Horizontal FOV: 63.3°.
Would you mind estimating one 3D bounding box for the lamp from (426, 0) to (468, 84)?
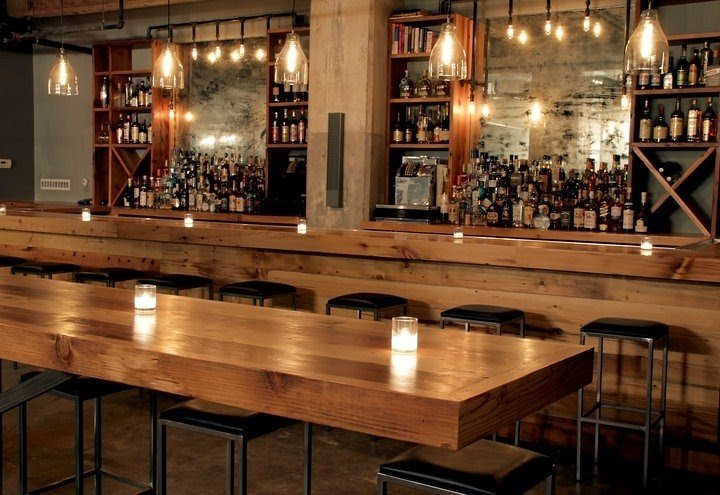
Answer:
[{"bbox_3d":[0.569,-1.268,3.717,0.231,0.379,0.246,2,12,8],"label":"lamp"}]

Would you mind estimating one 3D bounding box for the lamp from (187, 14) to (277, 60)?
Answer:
[{"bbox_3d":[-1.733,-2.663,7.574,1.536,0.499,0.450,7,14,32],"label":"lamp"}]

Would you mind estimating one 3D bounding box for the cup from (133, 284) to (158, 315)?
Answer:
[{"bbox_3d":[-1.002,0.245,2.806,0.154,0.140,0.135,0,4,-14],"label":"cup"}]

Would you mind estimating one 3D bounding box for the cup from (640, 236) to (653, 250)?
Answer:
[{"bbox_3d":[2.050,-0.034,4.154,0.105,0.095,0.101,-1,8,0],"label":"cup"}]

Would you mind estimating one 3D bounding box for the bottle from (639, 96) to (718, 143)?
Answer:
[{"bbox_3d":[2.837,-1.121,5.121,0.528,0.275,0.101,4,7,28],"label":"bottle"}]

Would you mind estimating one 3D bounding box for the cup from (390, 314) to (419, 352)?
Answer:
[{"bbox_3d":[0.171,0.325,2.256,0.143,0.129,0.127,0,3,-4],"label":"cup"}]

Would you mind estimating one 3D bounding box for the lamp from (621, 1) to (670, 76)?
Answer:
[{"bbox_3d":[1.712,-1.231,3.444,0.235,0.376,0.264,5,13,22],"label":"lamp"}]

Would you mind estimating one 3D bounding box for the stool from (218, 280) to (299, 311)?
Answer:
[{"bbox_3d":[-0.768,0.297,4.450,0.373,0.352,0.392,6,9,34],"label":"stool"}]

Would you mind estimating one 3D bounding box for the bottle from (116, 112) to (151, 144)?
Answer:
[{"bbox_3d":[-3.119,-1.655,8.135,0.661,0.396,0.294,8,15,35],"label":"bottle"}]
